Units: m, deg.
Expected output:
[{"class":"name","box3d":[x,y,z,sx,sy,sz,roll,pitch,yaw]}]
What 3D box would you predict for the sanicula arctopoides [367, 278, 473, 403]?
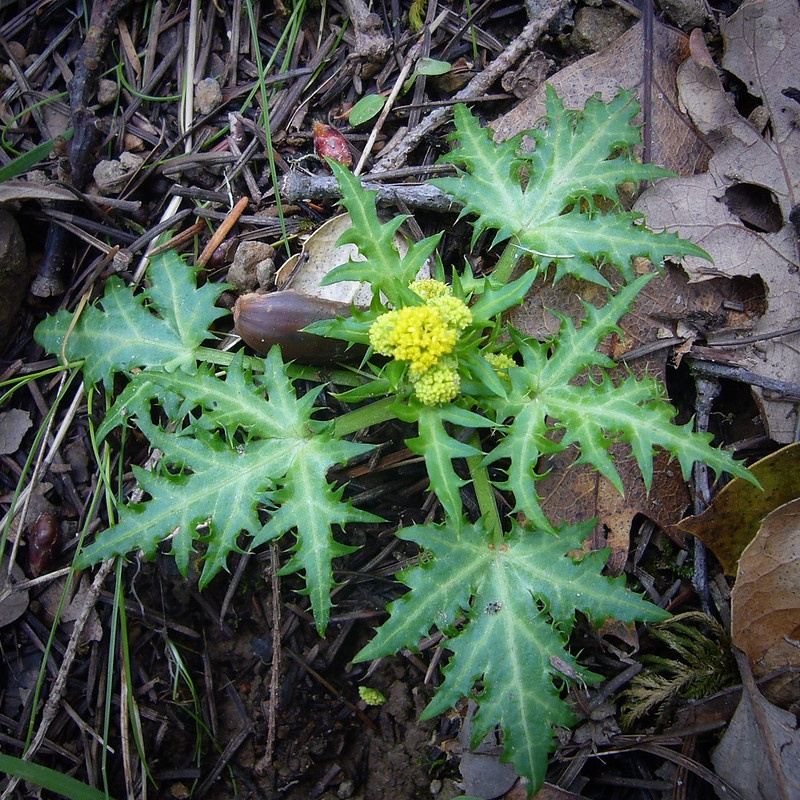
[{"class":"sanicula arctopoides","box3d":[0.087,-0.263,3.669,0.450,0.343,0.474,12,62,8]}]
